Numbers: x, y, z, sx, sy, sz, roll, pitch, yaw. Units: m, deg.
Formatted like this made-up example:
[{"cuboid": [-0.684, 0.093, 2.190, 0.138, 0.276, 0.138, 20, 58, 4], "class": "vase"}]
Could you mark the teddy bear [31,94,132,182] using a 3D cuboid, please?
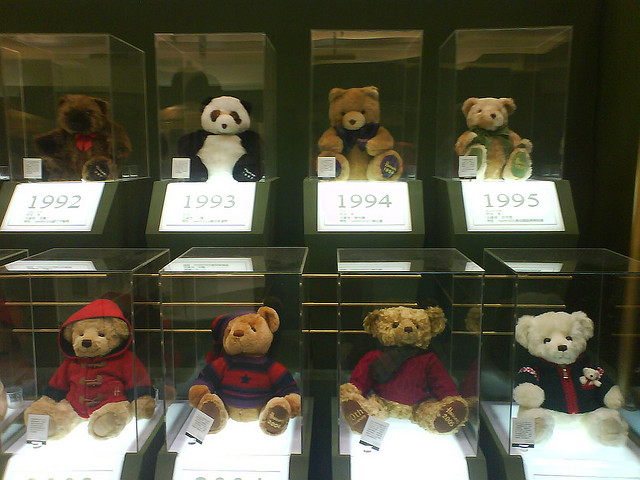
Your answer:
[{"cuboid": [-1.293, -0.546, 2.974, 0.517, 0.464, 0.336, 2, 6, 8], "class": "teddy bear"}]

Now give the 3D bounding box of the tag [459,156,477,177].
[{"cuboid": [0.789, -0.395, 2.902, 0.124, 0.122, 0.017, -1, 12, 6], "class": "tag"}]

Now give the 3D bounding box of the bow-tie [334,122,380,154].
[{"cuboid": [0.200, -0.557, 2.997, 0.212, 0.134, 0.028, 0, 2, 4], "class": "bow-tie"}]

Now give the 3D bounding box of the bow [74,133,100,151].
[{"cuboid": [-1.264, -0.527, 2.922, 0.115, 0.082, 0.017, 0, 5, 2], "class": "bow"}]

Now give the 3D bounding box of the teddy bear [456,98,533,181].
[{"cuboid": [0.927, -0.540, 2.959, 0.514, 0.513, 0.306, -1, 5, -7], "class": "teddy bear"}]

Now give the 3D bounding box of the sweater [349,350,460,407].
[{"cuboid": [0.361, 0.595, 2.307, 0.482, 0.283, 0.244, -1, -6, 3], "class": "sweater"}]

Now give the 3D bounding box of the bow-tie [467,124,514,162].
[{"cuboid": [0.927, -0.516, 2.956, 0.238, 0.190, 0.095, 10, -12, -5], "class": "bow-tie"}]

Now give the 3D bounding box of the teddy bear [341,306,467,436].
[{"cuboid": [0.343, 0.537, 2.305, 0.559, 0.461, 0.310, 4, 7, -5], "class": "teddy bear"}]

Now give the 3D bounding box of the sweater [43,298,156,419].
[{"cuboid": [-0.977, 0.535, 2.346, 0.557, 0.551, 0.363, -1, -1, -5], "class": "sweater"}]

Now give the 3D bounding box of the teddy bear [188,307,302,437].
[{"cuboid": [-0.309, 0.557, 2.349, 0.551, 0.491, 0.343, -3, -3, 21], "class": "teddy bear"}]

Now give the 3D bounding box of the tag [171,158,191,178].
[{"cuboid": [-0.762, -0.392, 2.970, 0.126, 0.108, 0.060, 0, -1, 1], "class": "tag"}]

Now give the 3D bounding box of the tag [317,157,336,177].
[{"cuboid": [0.033, -0.393, 2.929, 0.111, 0.098, 0.101, -1, 16, 0], "class": "tag"}]

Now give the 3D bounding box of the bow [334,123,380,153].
[{"cuboid": [0.200, -0.557, 2.997, 0.191, 0.115, 0.025, -1, -4, 0], "class": "bow"}]

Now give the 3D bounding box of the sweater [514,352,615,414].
[{"cuboid": [1.073, 0.583, 2.404, 0.440, 0.306, 0.234, -8, 7, 8], "class": "sweater"}]

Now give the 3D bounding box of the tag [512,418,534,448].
[{"cuboid": [0.851, 0.808, 2.285, 0.086, 0.119, 0.021, 2, -5, -6], "class": "tag"}]

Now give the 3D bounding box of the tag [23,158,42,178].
[{"cuboid": [-1.528, -0.381, 2.885, 0.117, 0.110, 0.016, 2, 1, -1], "class": "tag"}]

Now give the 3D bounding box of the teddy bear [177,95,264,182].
[{"cuboid": [-0.557, -0.560, 3.079, 0.508, 0.465, 0.277, 2, 7, -4], "class": "teddy bear"}]

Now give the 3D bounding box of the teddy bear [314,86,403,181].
[{"cuboid": [0.209, -0.592, 3.054, 0.477, 0.501, 0.361, -1, 20, 2], "class": "teddy bear"}]

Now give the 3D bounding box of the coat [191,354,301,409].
[{"cuboid": [-0.324, 0.591, 2.333, 0.457, 0.255, 0.236, 1, -4, 0], "class": "coat"}]

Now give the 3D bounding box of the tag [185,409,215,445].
[{"cuboid": [-0.507, 0.778, 2.290, 0.134, 0.123, 0.034, 25, 2, 9], "class": "tag"}]

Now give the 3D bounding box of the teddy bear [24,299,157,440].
[{"cuboid": [-0.983, 0.546, 2.353, 0.537, 0.538, 0.359, 0, 1, -8], "class": "teddy bear"}]

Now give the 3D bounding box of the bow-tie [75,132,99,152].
[{"cuboid": [-1.263, -0.529, 2.921, 0.121, 0.091, 0.020, 2, 1, 2], "class": "bow-tie"}]

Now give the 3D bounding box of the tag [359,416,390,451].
[{"cuboid": [0.222, 0.802, 2.259, 0.110, 0.120, 0.033, 21, -1, 7], "class": "tag"}]

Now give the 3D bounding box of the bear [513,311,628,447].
[{"cuboid": [1.070, 0.584, 2.315, 0.473, 0.479, 0.415, -1, 12, 29], "class": "bear"}]

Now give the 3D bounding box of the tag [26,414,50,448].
[{"cuboid": [-1.192, 0.801, 2.289, 0.096, 0.137, 0.011, 1, -5, 7], "class": "tag"}]

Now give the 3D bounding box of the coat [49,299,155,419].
[{"cuboid": [-0.985, 0.550, 2.371, 0.523, 0.515, 0.308, -1, -9, -5], "class": "coat"}]

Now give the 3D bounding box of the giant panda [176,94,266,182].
[{"cuboid": [-0.542, -0.551, 3.032, 0.585, 0.535, 0.337, 0, -1, -8], "class": "giant panda"}]
